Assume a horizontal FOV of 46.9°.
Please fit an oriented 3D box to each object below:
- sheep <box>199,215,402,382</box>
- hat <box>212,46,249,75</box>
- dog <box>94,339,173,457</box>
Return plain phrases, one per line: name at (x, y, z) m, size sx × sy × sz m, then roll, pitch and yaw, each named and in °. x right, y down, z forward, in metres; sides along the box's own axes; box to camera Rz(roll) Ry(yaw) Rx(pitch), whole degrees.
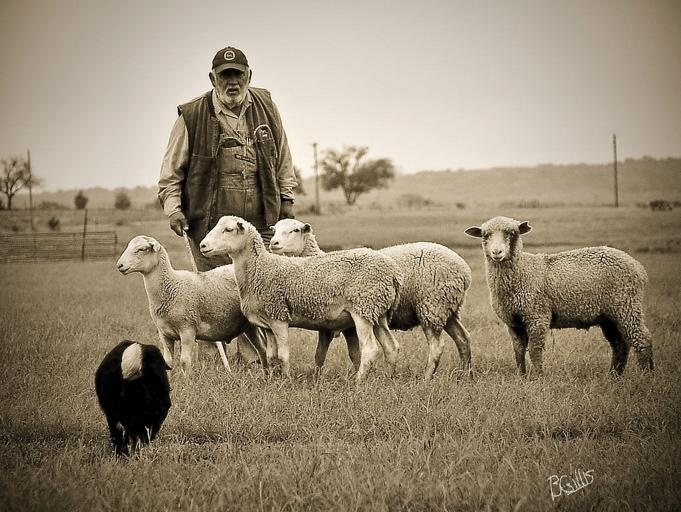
sheep at (-0.493, 0.609, 10.165) m, size 2.623 × 2.081 × 0.967 m, roll 2°, pitch -7°, yaw -3°
hat at (-1.437, -2.542, 10.242) m, size 0.443 × 0.340 × 0.261 m, roll -3°, pitch 4°, yaw -11°
dog at (-2.058, 1.431, 7.764) m, size 0.705 × 1.110 × 0.394 m, roll -2°, pitch 4°, yaw -8°
